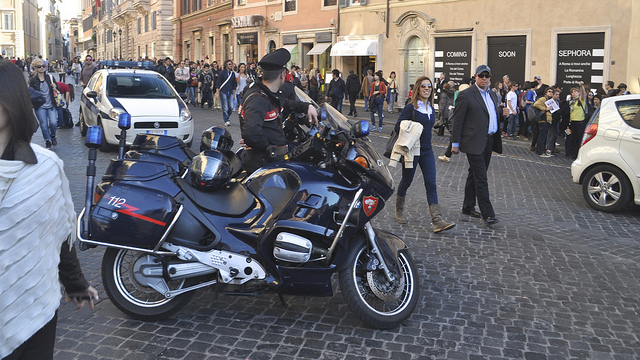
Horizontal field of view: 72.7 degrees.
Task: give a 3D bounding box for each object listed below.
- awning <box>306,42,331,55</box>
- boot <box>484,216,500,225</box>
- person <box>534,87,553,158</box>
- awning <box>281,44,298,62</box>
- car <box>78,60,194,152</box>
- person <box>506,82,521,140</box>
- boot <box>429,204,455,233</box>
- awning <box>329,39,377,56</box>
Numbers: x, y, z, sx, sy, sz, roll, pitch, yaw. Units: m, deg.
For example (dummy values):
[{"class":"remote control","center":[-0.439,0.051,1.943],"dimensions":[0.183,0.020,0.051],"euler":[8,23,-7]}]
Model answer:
[{"class":"awning","center":[-0.021,-9.177,30.229],"dimensions":[0.736,0.808,1.595],"euler":[-12,21,-33]},{"class":"boot","center":[2.983,0.699,7.595],"dimensions":[0.209,0.196,0.109],"euler":[-4,55,-2]},{"class":"person","center":[7.898,-2.112,15.437],"dimensions":[0.583,2.138,1.599],"euler":[8,20,23]},{"class":"awning","center":[-2.197,-9.546,32.418],"dimensions":[0.554,1.164,1.211],"euler":[-11,21,-30]},{"class":"car","center":[-5.608,-2.421,13.306],"dimensions":[2.766,2.389,4.869],"euler":[-6,18,-34]},{"class":"person","center":[7.872,-2.864,17.849],"dimensions":[0.585,2.145,1.172],"euler":[9,20,26]},{"class":"boot","center":[2.053,0.617,7.348],"dimensions":[0.226,0.446,0.461],"euler":[-4,-8,-31]},{"class":"awning","center":[2.210,-8.565,28.058],"dimensions":[3.098,1.043,0.921],"euler":[17,24,41]}]
